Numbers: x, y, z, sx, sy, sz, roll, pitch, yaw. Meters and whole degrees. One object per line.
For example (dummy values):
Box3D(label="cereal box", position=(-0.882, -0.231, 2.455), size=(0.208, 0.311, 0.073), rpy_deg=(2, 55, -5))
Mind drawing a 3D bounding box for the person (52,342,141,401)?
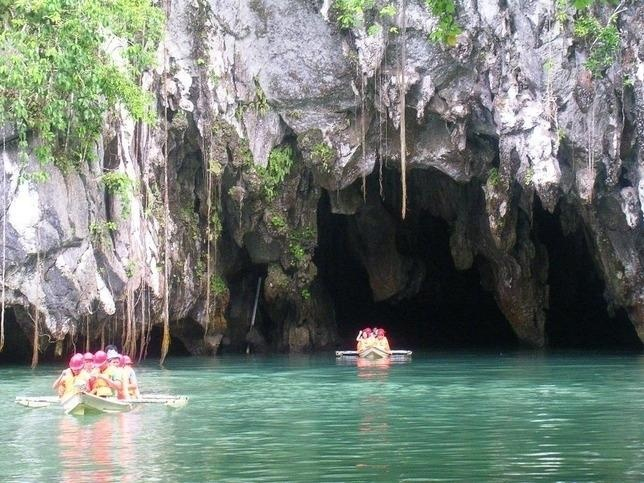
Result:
Box3D(label="person", position=(-4.563, 2.660, 19.074), size=(0.943, 0.838, 1.531), rpy_deg=(2, -3, 12))

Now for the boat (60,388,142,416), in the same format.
Box3D(label="boat", position=(-4.421, 3.186, 18.550), size=(1.276, 0.423, 0.754), rpy_deg=(0, -13, -15))

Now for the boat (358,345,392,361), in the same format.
Box3D(label="boat", position=(1.760, 3.805, 31.795), size=(1.078, 0.490, 1.138), rpy_deg=(-3, -12, 0))
